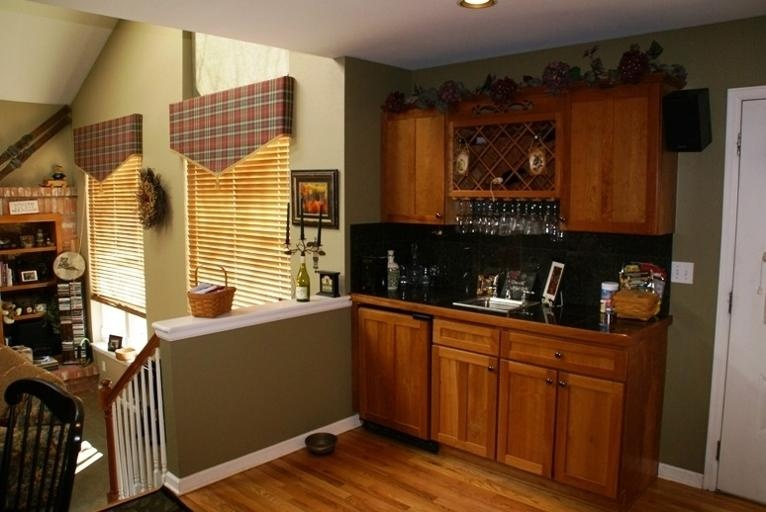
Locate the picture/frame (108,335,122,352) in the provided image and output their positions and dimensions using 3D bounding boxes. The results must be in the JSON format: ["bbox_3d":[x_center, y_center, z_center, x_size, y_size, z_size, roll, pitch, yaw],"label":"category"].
[{"bbox_3d":[-3.638,1.201,7.695,0.165,0.194,0.141,14,18,35],"label":"picture/frame"}]

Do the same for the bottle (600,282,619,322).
[{"bbox_3d":[1.714,0.344,4.309,0.109,0.278,0.263,0,7,25],"label":"bottle"}]

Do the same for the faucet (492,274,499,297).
[{"bbox_3d":[1.010,0.261,5.061,0.034,0.191,0.106,3,8,42],"label":"faucet"}]

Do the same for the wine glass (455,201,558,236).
[{"bbox_3d":[1.098,-0.335,4.855,0.974,0.349,0.303,2,7,36],"label":"wine glass"}]

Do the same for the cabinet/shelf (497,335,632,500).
[{"bbox_3d":[1.447,1.153,4.505,0.980,1.275,0.685,7,11,33],"label":"cabinet/shelf"}]

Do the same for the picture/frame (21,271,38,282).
[{"bbox_3d":[-4.892,0.279,7.809,0.160,0.113,0.016,1,-9,-36],"label":"picture/frame"}]

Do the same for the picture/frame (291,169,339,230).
[{"bbox_3d":[-0.643,-0.537,5.267,0.037,0.524,0.563,5,7,41],"label":"picture/frame"}]

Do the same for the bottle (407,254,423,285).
[{"bbox_3d":[0.315,0.136,5.449,0.109,0.294,0.114,-3,6,0],"label":"bottle"}]

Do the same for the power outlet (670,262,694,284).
[{"bbox_3d":[2.338,0.130,4.430,0.168,0.170,0.161,6,14,37],"label":"power outlet"}]

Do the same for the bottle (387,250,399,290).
[{"bbox_3d":[0.094,0.126,5.347,0.112,0.365,0.262,-2,6,3],"label":"bottle"}]

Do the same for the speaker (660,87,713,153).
[{"bbox_3d":[2.193,-0.991,4.117,0.246,0.439,0.329,3,8,40],"label":"speaker"}]

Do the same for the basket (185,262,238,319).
[{"bbox_3d":[-1.415,0.272,4.662,0.279,0.398,0.376,3,5,16],"label":"basket"}]

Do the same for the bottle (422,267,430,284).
[{"bbox_3d":[0.416,0.196,5.472,0.055,0.147,0.116,-1,6,16],"label":"bottle"}]
